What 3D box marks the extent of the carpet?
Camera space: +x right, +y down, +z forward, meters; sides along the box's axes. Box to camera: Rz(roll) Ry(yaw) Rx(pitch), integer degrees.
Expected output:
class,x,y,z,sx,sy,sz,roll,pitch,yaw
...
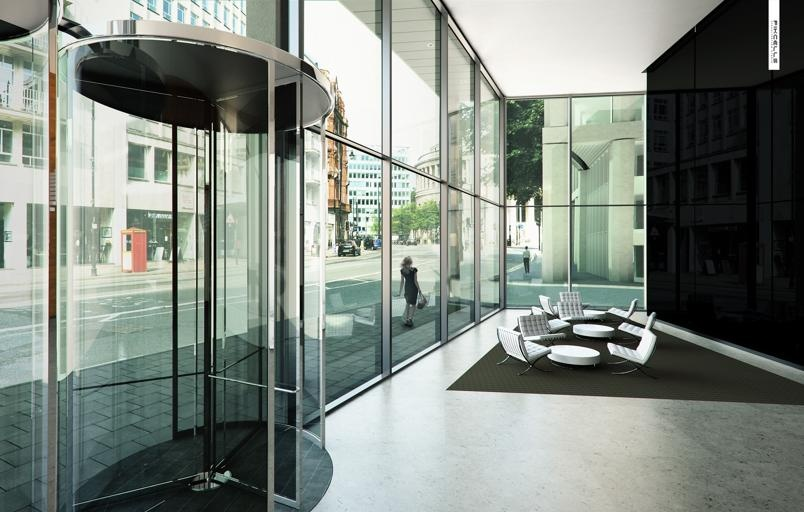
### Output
class,x,y,z,sx,sy,sz,roll,pitch,yaw
carpet,4.426,2.236,11.801,6.013,0.448,3.722,1,12,4

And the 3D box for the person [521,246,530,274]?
class,x,y,z,sx,sy,sz,roll,pitch,yaw
person,4.198,0.136,20.094,0.288,0.874,0.222,2,13,11

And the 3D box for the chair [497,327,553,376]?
class,x,y,z,sx,sy,sz,roll,pitch,yaw
chair,2.591,1.719,12.202,0.949,0.884,1.069,-17,20,14

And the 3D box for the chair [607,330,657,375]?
class,x,y,z,sx,sy,sz,roll,pitch,yaw
chair,4.593,1.875,11.880,0.891,0.718,0.878,-2,3,8
